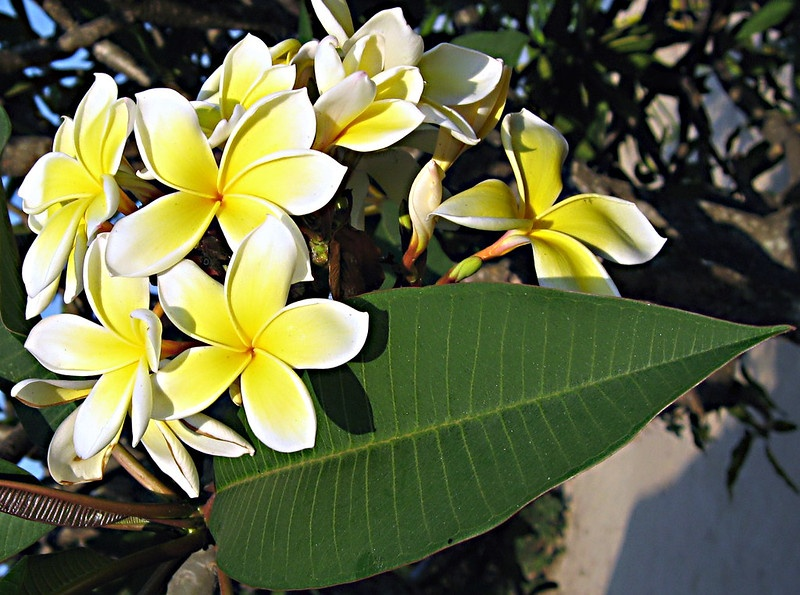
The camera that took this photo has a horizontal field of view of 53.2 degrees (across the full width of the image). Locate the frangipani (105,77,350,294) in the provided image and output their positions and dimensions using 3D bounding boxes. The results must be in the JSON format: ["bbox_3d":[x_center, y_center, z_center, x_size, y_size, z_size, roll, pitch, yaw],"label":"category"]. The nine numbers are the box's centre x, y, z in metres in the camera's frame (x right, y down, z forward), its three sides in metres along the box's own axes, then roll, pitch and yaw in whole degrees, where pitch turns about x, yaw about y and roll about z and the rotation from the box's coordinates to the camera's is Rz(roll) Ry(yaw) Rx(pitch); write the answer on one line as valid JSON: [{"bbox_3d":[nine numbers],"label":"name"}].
[{"bbox_3d":[-0.255,-0.163,1.179,0.295,0.085,0.288,42,93,7],"label":"frangipani"}]

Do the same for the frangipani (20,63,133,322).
[{"bbox_3d":[-0.481,-0.160,1.210,0.087,0.310,0.312,25,21,-30],"label":"frangipani"}]

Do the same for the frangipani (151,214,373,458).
[{"bbox_3d":[-0.202,0.047,1.135,0.307,0.201,0.245,9,57,4],"label":"frangipani"}]

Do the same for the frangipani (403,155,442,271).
[{"bbox_3d":[0.037,-0.139,1.321,0.043,0.181,0.048,23,18,35],"label":"frangipani"}]
